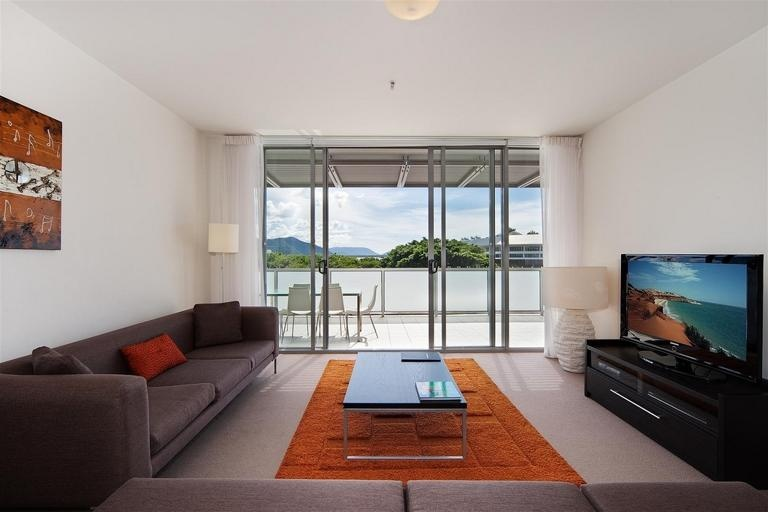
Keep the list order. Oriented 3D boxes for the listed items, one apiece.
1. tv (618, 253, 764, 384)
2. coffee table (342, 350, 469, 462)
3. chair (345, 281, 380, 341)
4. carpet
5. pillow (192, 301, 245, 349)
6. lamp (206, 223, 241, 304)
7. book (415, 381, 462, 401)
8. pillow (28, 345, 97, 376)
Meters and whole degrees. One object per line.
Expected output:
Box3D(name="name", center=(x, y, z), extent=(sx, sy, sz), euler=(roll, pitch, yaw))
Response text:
Box3D(name="tv", center=(2.866, 0.591, 4.298), extent=(0.189, 0.895, 1.381), euler=(2, 0, -16))
Box3D(name="coffee table", center=(0.196, 1.386, 4.500), extent=(1.103, 0.554, 1.159), euler=(0, 11, -1))
Box3D(name="chair", center=(-0.308, 0.828, 7.122), extent=(0.484, 0.593, 0.433), euler=(-9, 2, -2))
Box3D(name="carpet", center=(0.580, 1.844, 4.356), extent=(2.123, 0.033, 1.276), euler=(14, -34, 15))
Box3D(name="pillow", center=(-1.901, 0.816, 5.373), extent=(0.536, 0.452, 0.178), euler=(-1, -21, -24))
Box3D(name="lamp", center=(-2.061, 0.098, 6.103), extent=(0.363, 1.066, 0.461), euler=(-3, 14, -15))
Box3D(name="book", center=(0.483, 1.195, 4.152), extent=(0.386, 0.041, 0.369), euler=(1, 11, 0))
Box3D(name="pillow", center=(-2.608, 0.830, 3.716), extent=(0.284, 0.089, 0.320), euler=(9, 3, -35))
